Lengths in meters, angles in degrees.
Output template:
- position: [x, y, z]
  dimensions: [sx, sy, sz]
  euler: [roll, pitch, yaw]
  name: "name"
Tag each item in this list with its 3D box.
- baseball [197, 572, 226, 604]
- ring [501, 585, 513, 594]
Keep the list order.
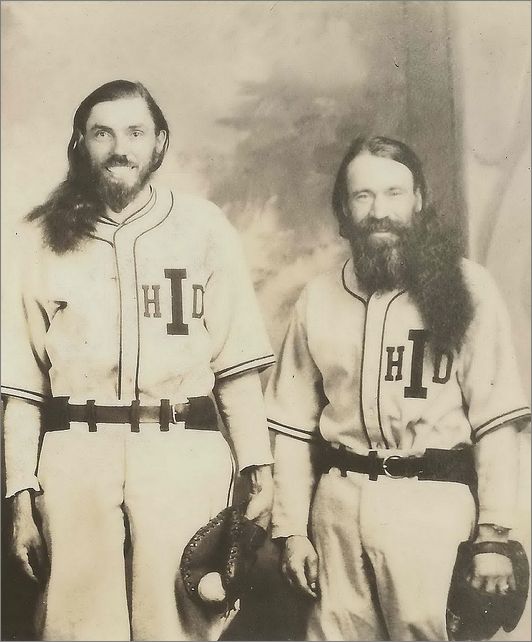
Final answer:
- position: [-0.247, 1.218, 6.312]
  dimensions: [0.126, 0.128, 0.048]
  euler: [4, -12, -16]
  name: "baseball"
- position: [1.090, 1.211, 6.345]
  dimensions: [0.043, 0.053, 0.019]
  euler: [-20, 27, -18]
  name: "ring"
